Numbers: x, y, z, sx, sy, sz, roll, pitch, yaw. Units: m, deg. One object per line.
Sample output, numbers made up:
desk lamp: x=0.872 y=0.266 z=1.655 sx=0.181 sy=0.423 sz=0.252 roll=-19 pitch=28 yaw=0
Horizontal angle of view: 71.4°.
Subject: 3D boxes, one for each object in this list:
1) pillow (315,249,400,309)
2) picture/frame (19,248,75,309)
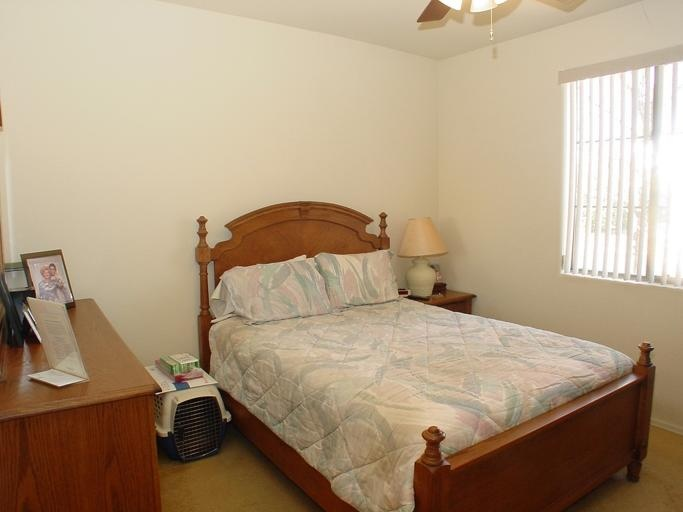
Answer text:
pillow: x=0.143 y=0.199 z=3.812 sx=0.604 sy=0.453 sz=0.160 roll=-6 pitch=-17 yaw=-34
picture/frame: x=-1.641 y=0.126 z=2.632 sx=0.026 sy=0.373 sz=0.313 roll=-13 pitch=4 yaw=26
